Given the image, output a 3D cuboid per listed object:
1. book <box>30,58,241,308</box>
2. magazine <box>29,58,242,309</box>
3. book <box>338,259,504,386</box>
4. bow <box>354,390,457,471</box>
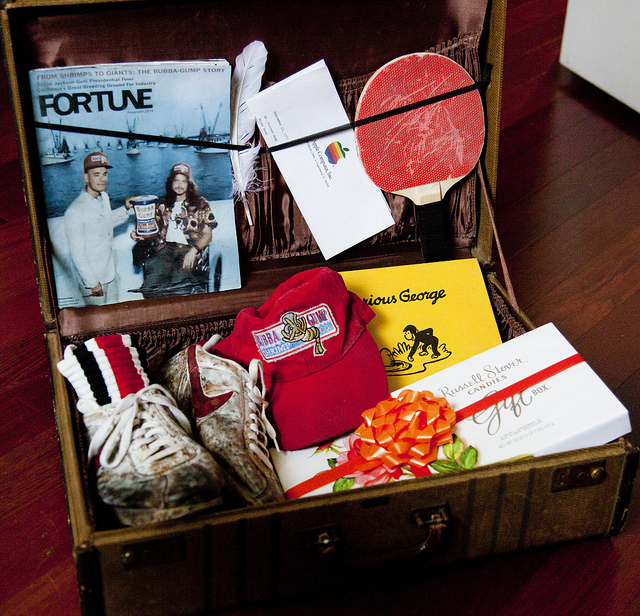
[{"bbox_3d":[-0.302,-0.197,1.013,0.318,0.430,0.038,-6,-6,-21],"label":"book"},{"bbox_3d":[-0.310,-0.219,0.990,0.308,0.406,0.038,-9,21,-14],"label":"magazine"},{"bbox_3d":[0.206,0.030,1.103,0.232,0.247,0.057,-16,-9,-3],"label":"book"},{"bbox_3d":[0.128,0.180,0.909,0.147,0.070,0.116,1,33,15],"label":"bow"}]
